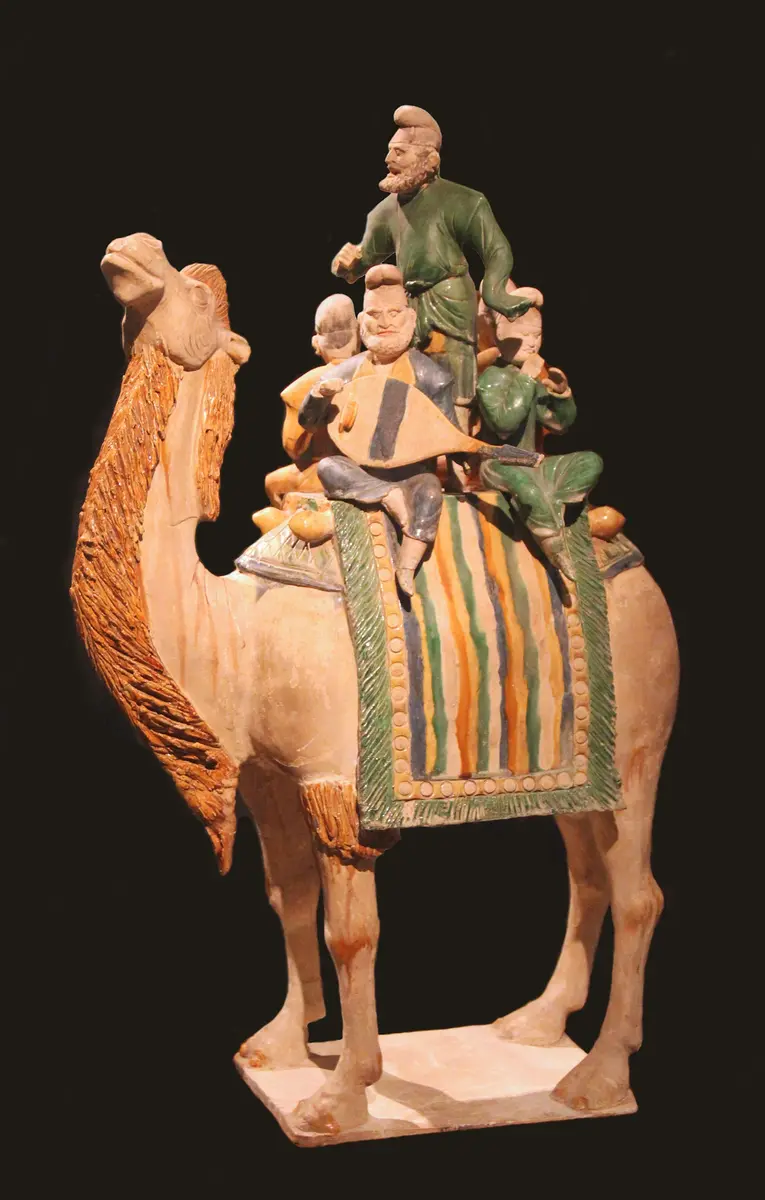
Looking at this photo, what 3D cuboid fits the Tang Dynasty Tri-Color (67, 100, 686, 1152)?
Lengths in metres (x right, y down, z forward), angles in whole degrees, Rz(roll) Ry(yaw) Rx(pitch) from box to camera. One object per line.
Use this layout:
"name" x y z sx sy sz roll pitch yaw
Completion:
"Tang Dynasty Tri-Color" -0.029 0.043 5.929 1.679 2.754 0.900 0 0 -12
